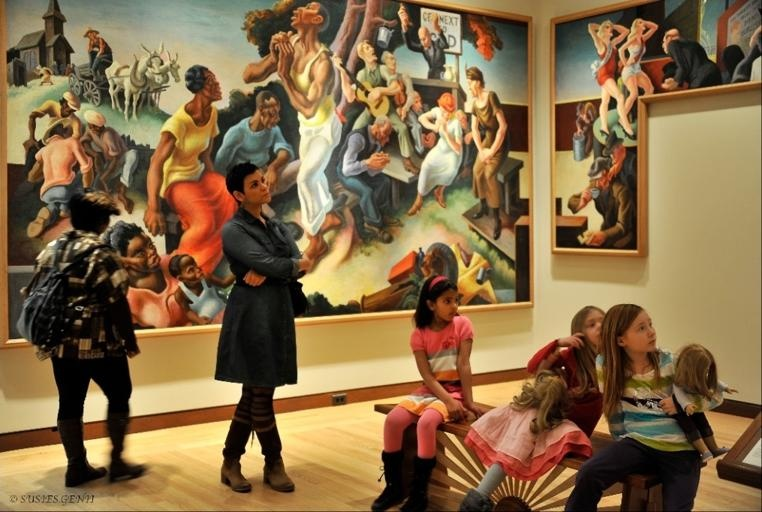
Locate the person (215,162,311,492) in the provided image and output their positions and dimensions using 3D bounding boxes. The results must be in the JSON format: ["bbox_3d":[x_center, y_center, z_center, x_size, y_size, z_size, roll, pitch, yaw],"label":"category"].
[{"bbox_3d":[-0.825,0.482,4.092,0.637,2.267,0.394,-1,4,-15],"label":"person"}]

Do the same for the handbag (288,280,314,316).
[{"bbox_3d":[-0.555,0.332,4.273,0.228,0.319,0.094,-1,13,33],"label":"handbag"}]

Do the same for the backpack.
[{"bbox_3d":[-2.186,0.261,3.988,0.555,0.700,0.251,0,4,-3],"label":"backpack"}]

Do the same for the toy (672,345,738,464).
[{"bbox_3d":[1.819,0.834,3.322,0.283,0.663,0.299,2,4,31],"label":"toy"}]

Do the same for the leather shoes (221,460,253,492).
[{"bbox_3d":[-1.033,1.536,4.125,0.118,0.173,0.303,3,-3,-36],"label":"leather shoes"}]

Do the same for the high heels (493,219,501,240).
[{"bbox_3d":[1.358,-0.351,6.827,0.080,0.253,0.107,3,-8,23],"label":"high heels"}]
